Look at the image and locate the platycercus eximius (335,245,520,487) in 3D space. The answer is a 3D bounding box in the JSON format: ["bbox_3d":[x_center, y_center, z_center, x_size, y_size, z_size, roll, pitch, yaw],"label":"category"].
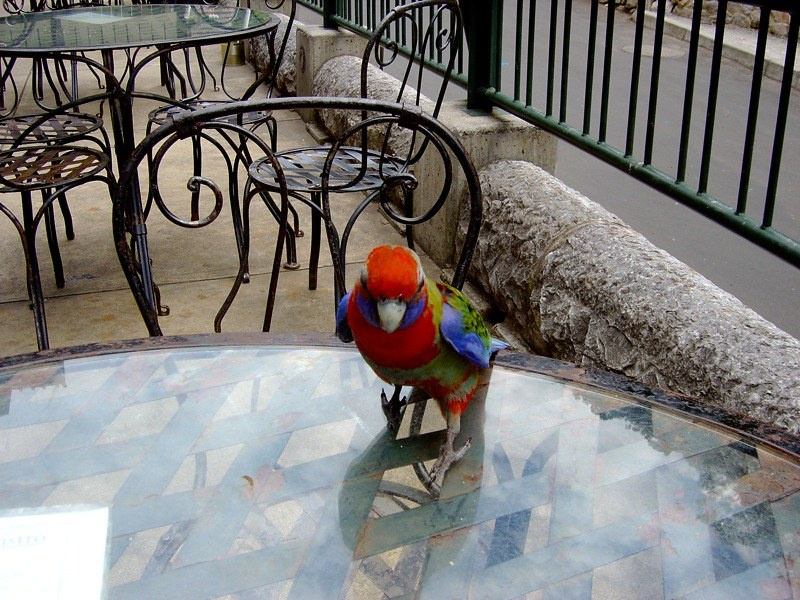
[{"bbox_3d":[0.044,0.050,1.207,0.251,0.434,0.534,7,33,25],"label":"platycercus eximius"}]

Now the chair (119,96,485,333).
[{"bbox_3d":[-0.495,-0.408,2.840,1.214,1.519,1.106,-4,44,-13],"label":"chair"}]
